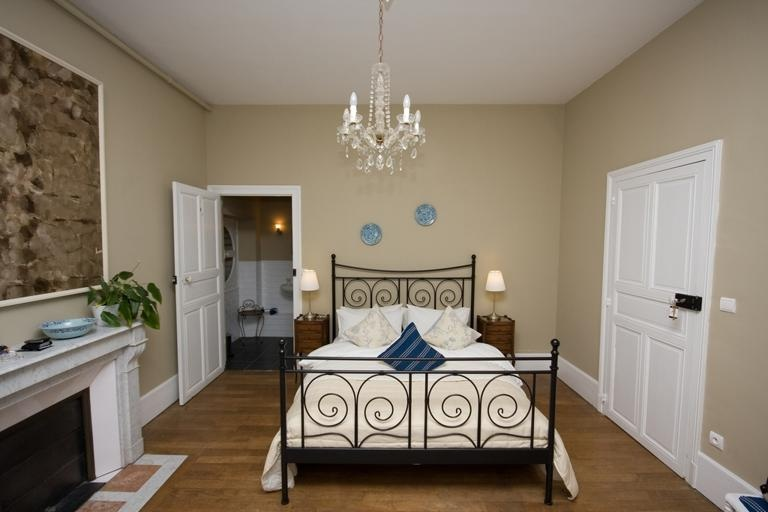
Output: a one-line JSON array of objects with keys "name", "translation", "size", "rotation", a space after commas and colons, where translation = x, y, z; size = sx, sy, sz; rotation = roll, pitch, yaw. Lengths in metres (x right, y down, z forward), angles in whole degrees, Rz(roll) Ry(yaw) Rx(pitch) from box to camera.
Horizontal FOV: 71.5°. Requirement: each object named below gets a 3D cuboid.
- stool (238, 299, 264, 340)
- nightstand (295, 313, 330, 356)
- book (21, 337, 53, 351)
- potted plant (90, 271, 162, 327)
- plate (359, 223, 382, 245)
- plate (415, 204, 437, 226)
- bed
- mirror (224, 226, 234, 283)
[{"name": "stool", "translation": [-2.010, 0.961, 8.059], "size": [0.336, 0.625, 0.365], "rotation": [0, 4, -11]}, {"name": "nightstand", "translation": [-0.853, 0.927, 6.332], "size": [0.447, 0.653, 0.422], "rotation": [0, -3, -5]}, {"name": "book", "translation": [-2.896, 0.743, 4.458], "size": [0.222, 0.084, 0.133], "rotation": [-1, 3, -35]}, {"name": "potted plant", "translation": [-2.508, 0.380, 5.047], "size": [0.749, 0.398, 0.790], "rotation": [6, 8, -30]}, {"name": "plate", "translation": [-0.149, -0.271, 6.594], "size": [0.276, 0.260, 0.056], "rotation": [0, 3, -9]}, {"name": "plate", "translation": [0.527, -0.507, 6.572], "size": [0.259, 0.287, 0.041], "rotation": [0, 3, -4]}, {"name": "bed", "translation": [0.360, 1.180, 6.035], "size": [2.114, 1.834, 2.831], "rotation": [0, -4, 2]}, {"name": "mirror", "translation": [-2.262, -0.034, 7.785], "size": [0.120, 0.791, 0.261], "rotation": [-1, 3, -12]}]
